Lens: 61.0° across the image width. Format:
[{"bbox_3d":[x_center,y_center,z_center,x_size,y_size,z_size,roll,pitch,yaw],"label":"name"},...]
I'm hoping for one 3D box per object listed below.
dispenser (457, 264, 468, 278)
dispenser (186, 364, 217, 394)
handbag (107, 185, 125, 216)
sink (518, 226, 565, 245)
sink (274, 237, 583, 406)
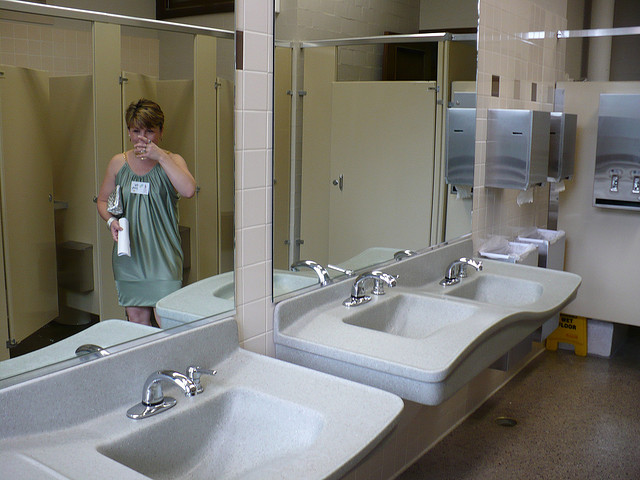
[{"bbox_3d":[0.718,0.155,2.748,0.055,0.070,0.059,1,2,5],"label":"dispenser"},{"bbox_3d":[-0.333,0.398,1.539,0.103,0.071,0.043,0,2,36],"label":"dispenser"},{"bbox_3d":[-0.534,-0.106,1.418,0.032,0.072,0.054,7,20,-3],"label":"handbag"},{"bbox_3d":[1.529,-0.026,3.764,0.174,0.080,0.214,10,23,33],"label":"sink"},{"bbox_3d":[0.618,0.307,2.357,0.679,0.389,1.637,3,8,40],"label":"sink"}]
